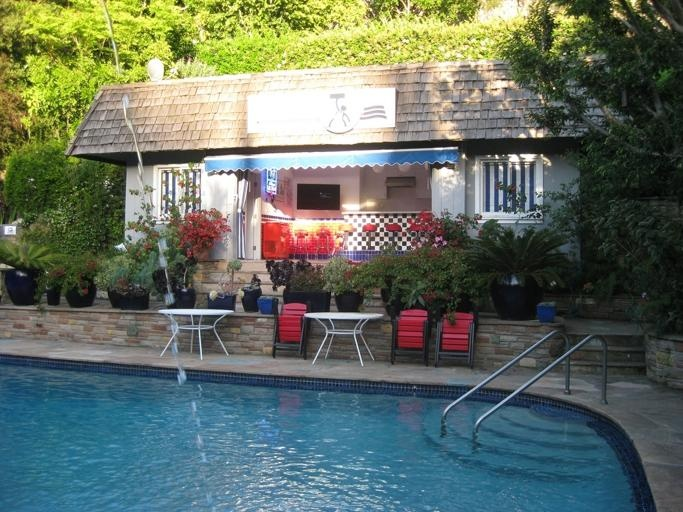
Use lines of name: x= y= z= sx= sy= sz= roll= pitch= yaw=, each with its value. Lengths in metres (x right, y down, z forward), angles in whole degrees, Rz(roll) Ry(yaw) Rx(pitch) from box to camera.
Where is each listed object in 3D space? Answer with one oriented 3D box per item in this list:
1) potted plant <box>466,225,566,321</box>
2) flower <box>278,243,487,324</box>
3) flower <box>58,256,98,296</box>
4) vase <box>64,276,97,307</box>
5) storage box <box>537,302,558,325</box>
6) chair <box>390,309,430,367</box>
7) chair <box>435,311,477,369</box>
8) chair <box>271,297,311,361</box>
potted plant: x=3.964 y=0.353 z=16.592 sx=1.817 sy=2.056 sz=1.971 roll=-1 pitch=-6 yaw=20
flower: x=1.368 y=0.489 z=16.455 sx=2.451 sy=1.139 sz=1.934 roll=-7 pitch=17 yaw=-3
flower: x=-6.583 y=0.499 z=18.829 sx=0.807 sy=0.668 sz=0.888 roll=1 pitch=3 yaw=-4
vase: x=-6.576 y=0.863 z=18.968 sx=0.636 sy=0.741 sz=0.693 roll=-1 pitch=5 yaw=-8
storage box: x=4.218 y=1.178 z=15.738 sx=0.486 sy=0.492 sz=0.470 roll=3 pitch=-1 yaw=30
chair: x=1.509 y=1.798 z=16.010 sx=0.976 sy=1.209 sz=1.033 roll=-3 pitch=-12 yaw=44
chair: x=2.398 y=1.797 z=15.932 sx=0.857 sy=1.174 sz=1.098 roll=4 pitch=-4 yaw=-7
chair: x=-1.132 y=1.666 z=16.388 sx=0.818 sy=1.191 sz=0.720 roll=0 pitch=11 yaw=3
